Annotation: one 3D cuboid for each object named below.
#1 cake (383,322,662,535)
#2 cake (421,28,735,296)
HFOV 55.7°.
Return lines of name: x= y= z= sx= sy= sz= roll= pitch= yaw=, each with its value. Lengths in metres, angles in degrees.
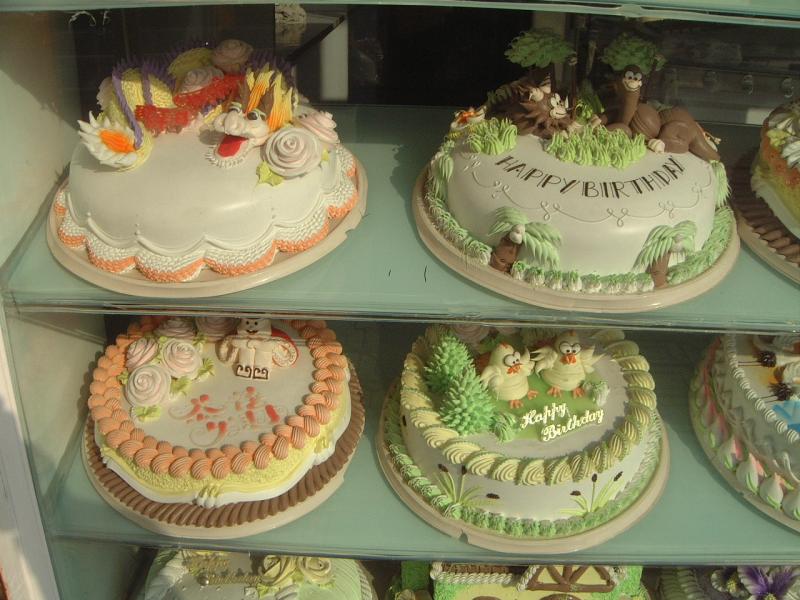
cake: x=0.567 y=0.473 z=3.394 sx=1.265 sy=0.451 sz=1.395 roll=2 pitch=26 yaw=12
cake: x=0.702 y=-0.519 z=2.912 sx=1.240 sy=0.460 sz=1.026 roll=2 pitch=51 yaw=1
